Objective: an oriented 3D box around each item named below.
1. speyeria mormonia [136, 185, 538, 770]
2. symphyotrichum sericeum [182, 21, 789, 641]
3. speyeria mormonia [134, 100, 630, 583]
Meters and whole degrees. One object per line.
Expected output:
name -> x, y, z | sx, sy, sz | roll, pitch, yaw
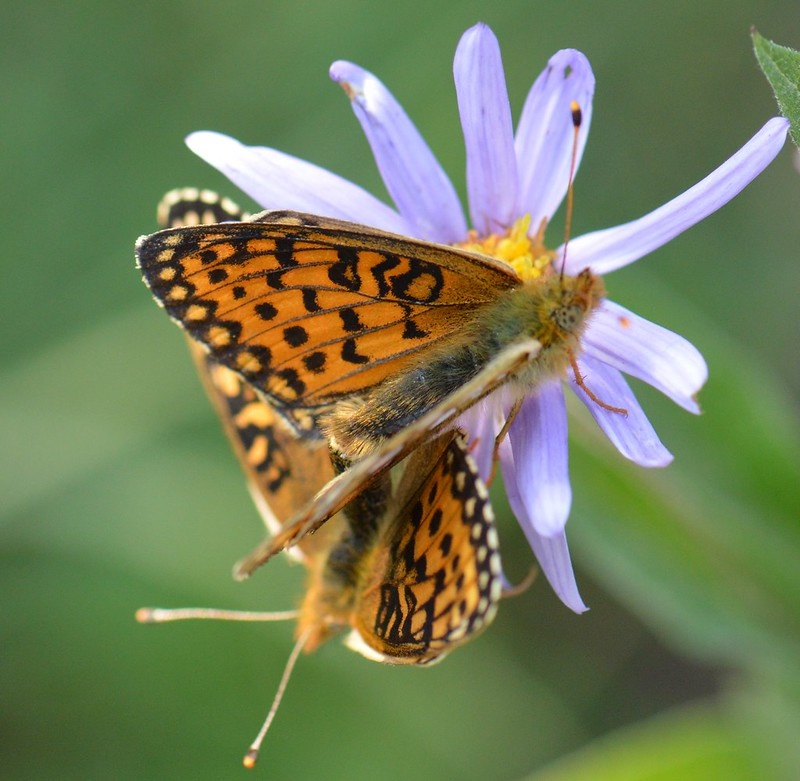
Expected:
speyeria mormonia -> -0.072, 0.156, 1.449 | 0.617, 0.833, 0.529 | -11, 13, 2
symphyotrichum sericeum -> 0.160, -0.059, 1.478 | 0.704, 1.211, 0.607 | 13, -47, 18
speyeria mormonia -> -0.024, -0.070, 1.473 | 0.523, 0.693, 0.634 | 0, 14, -8
